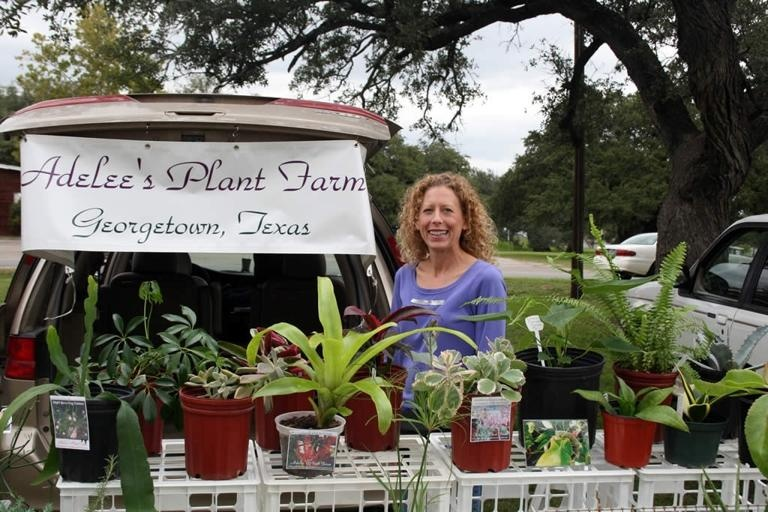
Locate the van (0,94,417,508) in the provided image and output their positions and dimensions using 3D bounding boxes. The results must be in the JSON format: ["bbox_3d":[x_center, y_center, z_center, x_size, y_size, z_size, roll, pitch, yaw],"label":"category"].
[{"bbox_3d":[-0.861,0.169,4.627,2.395,2.163,1.733,1,-18,-5],"label":"van"}]

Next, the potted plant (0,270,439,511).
[{"bbox_3d":[-0.704,0.532,3.235,1.253,0.548,1.242,0,1,-42],"label":"potted plant"}]
